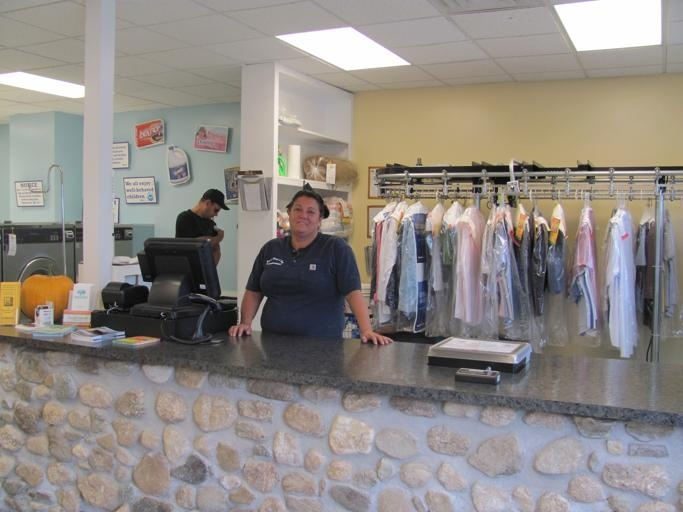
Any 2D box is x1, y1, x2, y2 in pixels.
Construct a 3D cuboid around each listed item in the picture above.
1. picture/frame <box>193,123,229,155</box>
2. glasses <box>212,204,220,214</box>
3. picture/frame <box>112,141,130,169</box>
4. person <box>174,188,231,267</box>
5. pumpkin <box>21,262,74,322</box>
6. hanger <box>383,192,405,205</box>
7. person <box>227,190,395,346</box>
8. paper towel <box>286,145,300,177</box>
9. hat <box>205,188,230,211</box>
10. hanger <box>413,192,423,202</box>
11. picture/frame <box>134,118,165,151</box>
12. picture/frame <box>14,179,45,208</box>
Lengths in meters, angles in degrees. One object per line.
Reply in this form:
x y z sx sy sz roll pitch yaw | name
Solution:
-1.697 -1.547 7.092 0.387 0.290 0.040 8 9 25 | picture/frame
-1.375 -0.501 5.863 0.076 0.081 0.058 5 5 21 | glasses
-3.181 -1.448 7.792 0.310 0.389 0.106 5 16 29 | picture/frame
-1.472 -0.310 5.867 0.405 0.806 0.847 1 14 15 | person
-1.939 0.259 3.609 0.385 0.371 0.379 2 -14 -34 | pumpkin
0.483 -0.525 4.892 0.186 0.111 0.270 1 -1 7 | hanger
-0.223 0.052 3.147 0.833 0.894 0.596 -2 14 3 | person
-0.513 -1.005 5.741 0.114 0.334 0.127 -3 11 -43 | paper towel
-1.345 -0.617 5.845 0.264 0.158 0.196 19 3 -16 | hat
0.673 -0.515 4.773 0.089 0.056 0.130 0 2 4 | hanger
-2.693 -1.707 7.557 0.590 0.392 0.147 7 17 34 | picture/frame
-4.553 -0.904 7.891 0.620 0.404 0.083 5 15 28 | picture/frame
